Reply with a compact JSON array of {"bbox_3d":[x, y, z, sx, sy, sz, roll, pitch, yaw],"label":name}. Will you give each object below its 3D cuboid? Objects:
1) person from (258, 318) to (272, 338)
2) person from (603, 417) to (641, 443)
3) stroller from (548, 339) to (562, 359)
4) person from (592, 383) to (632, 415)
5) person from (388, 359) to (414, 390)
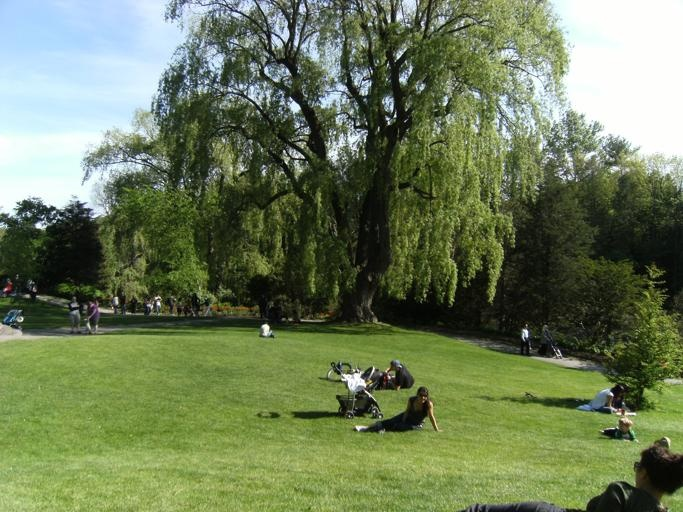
[{"bbox_3d":[-4.292,4.043,36.855,0.691,1.155,0.926,1,6,-3],"label":"person"},{"bbox_3d":[8.735,5.449,20.433,0.492,0.615,1.173,-2,-11,-16],"label":"person"},{"bbox_3d":[12.749,5.482,38.728,0.657,1.022,1.261,3,2,33],"label":"stroller"},{"bbox_3d":[10.093,5.413,24.487,0.870,0.652,1.111,-1,2,-9],"label":"person"},{"bbox_3d":[2.226,4.370,24.392,0.897,1.008,0.737,2,2,-7],"label":"person"}]
